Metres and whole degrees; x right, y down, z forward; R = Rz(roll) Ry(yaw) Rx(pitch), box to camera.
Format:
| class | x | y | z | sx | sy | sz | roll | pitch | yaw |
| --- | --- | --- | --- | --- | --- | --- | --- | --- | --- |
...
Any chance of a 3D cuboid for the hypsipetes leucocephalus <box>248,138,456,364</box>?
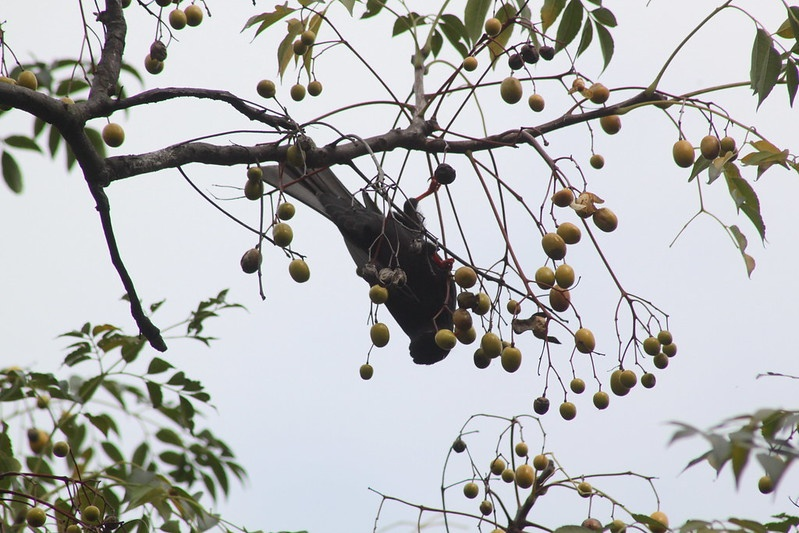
| class | x | y | z | sx | sy | sz | roll | pitch | yaw |
| --- | --- | --- | --- | --- | --- | --- | --- | --- | --- |
| hypsipetes leucocephalus | -0.002 | 0.010 | 6.273 | 0.382 | 1.447 | 0.830 | -3 | -90 | 10 |
